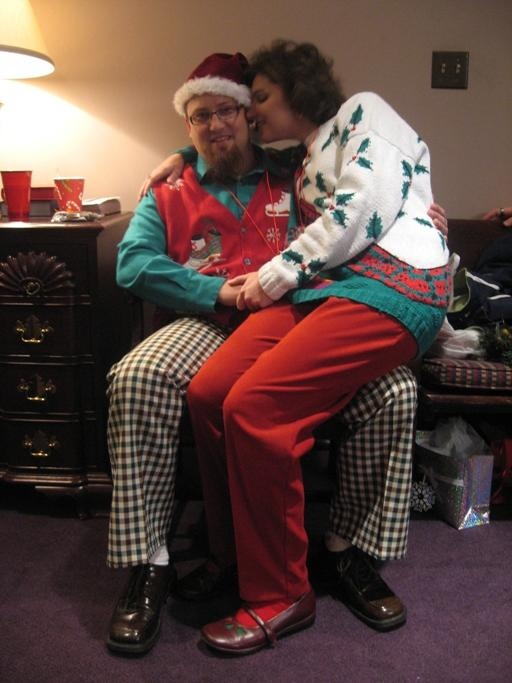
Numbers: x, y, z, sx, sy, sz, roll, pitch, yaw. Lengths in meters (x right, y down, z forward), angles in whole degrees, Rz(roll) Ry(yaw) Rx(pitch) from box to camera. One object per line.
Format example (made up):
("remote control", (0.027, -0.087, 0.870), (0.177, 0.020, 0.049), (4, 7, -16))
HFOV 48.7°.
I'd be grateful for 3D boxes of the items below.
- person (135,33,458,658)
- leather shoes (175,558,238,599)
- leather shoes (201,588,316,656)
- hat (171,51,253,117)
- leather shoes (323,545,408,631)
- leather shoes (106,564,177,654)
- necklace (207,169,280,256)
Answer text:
("person", (0.152, -0.071, 1.257), (0.569, 1.261, 0.664), (2, 12, 3))
("leather shoes", (-0.096, 0.534, 1.312), (0.158, 0.058, 0.060), (-13, 49, -44))
("leather shoes", (0.008, 0.555, 1.152), (0.215, 0.078, 0.085), (-6, 9, -25))
("hat", (-0.098, -0.656, 1.483), (0.183, 0.111, 0.142), (-1, 18, 40))
("leather shoes", (0.234, 0.541, 1.278), (0.086, 0.085, 0.210), (-14, 11, -21))
("leather shoes", (-0.227, 0.538, 1.136), (0.063, 0.064, 0.179), (2, 7, 6))
("necklace", (-0.001, -0.348, 1.529), (0.087, 0.260, 0.106), (-34, -6, 19))
